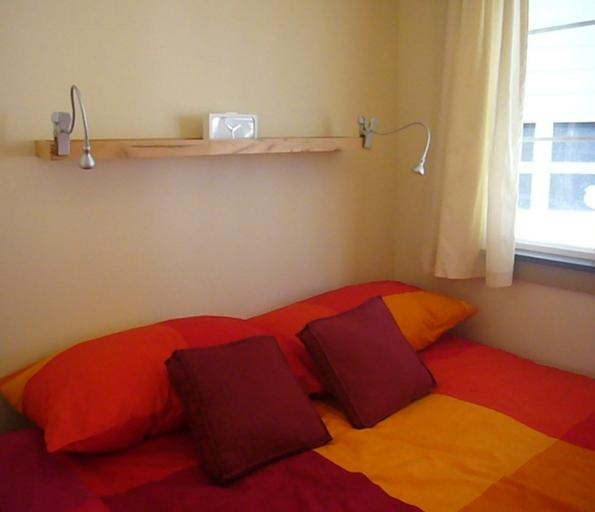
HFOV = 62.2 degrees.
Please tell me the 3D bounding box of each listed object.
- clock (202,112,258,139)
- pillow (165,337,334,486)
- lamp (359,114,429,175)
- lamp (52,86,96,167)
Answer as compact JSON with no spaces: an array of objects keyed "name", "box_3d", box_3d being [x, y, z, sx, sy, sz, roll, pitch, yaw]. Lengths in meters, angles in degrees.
[{"name":"clock","box_3d":[-0.267,-0.520,1.971,0.220,0.097,0.103,-6,14,-12]},{"name":"pillow","box_3d":[-0.154,0.455,1.579,0.457,0.314,0.297,-10,15,-28]},{"name":"lamp","box_3d":[0.445,-0.508,2.319,0.352,0.309,0.715,2,15,16]},{"name":"lamp","box_3d":[-0.736,-0.427,1.600,0.115,0.274,0.412,-7,15,-22]}]
